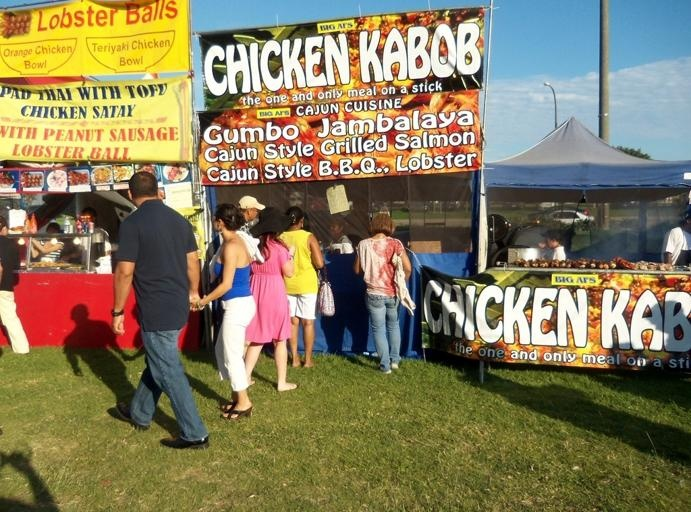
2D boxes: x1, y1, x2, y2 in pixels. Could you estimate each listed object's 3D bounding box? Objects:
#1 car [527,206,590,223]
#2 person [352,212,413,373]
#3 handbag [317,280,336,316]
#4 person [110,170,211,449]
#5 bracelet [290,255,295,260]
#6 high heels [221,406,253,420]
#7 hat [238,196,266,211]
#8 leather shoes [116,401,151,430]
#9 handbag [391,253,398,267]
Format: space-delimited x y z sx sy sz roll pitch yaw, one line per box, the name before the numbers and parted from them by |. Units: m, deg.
car | 6.278 -1.210 18.448 1.871 0.679 0.847 3 5 9
person | 0.507 0.471 8.275 0.767 2.059 0.565 5 14 21
handbag | -0.255 0.556 8.419 0.192 0.496 0.500 -1 -1 -9
person | -1.847 0.546 6.413 0.973 2.727 0.657 3 14 14
bracelet | -0.634 0.012 7.531 0.046 0.056 0.047 0 -5 25
high heels | -1.187 1.737 6.940 0.258 0.080 0.147 8 -9 -43
hat | -1.226 -0.695 8.458 0.301 0.145 0.197 1 11 -43
leather shoes | -2.249 1.712 6.736 0.356 0.144 0.127 41 12 14
handbag | 0.636 0.058 8.085 0.090 0.124 0.027 10 6 30
